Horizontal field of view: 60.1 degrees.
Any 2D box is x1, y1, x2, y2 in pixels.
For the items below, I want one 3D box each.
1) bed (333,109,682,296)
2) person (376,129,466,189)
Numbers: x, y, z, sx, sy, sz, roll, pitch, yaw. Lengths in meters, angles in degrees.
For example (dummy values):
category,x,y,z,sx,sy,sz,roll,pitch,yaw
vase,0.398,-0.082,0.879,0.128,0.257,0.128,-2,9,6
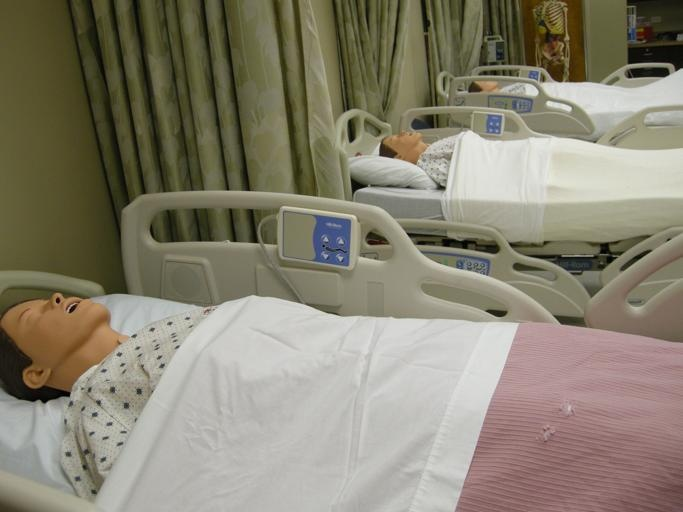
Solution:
category,x,y,z,sx,sy,sz,roll,pitch,yaw
bed,1.007,-0.394,3.724,1.762,1.070,1.103,1,32,18
person,0.482,-0.544,3.198,0.282,0.222,0.714,-15,23,-22
